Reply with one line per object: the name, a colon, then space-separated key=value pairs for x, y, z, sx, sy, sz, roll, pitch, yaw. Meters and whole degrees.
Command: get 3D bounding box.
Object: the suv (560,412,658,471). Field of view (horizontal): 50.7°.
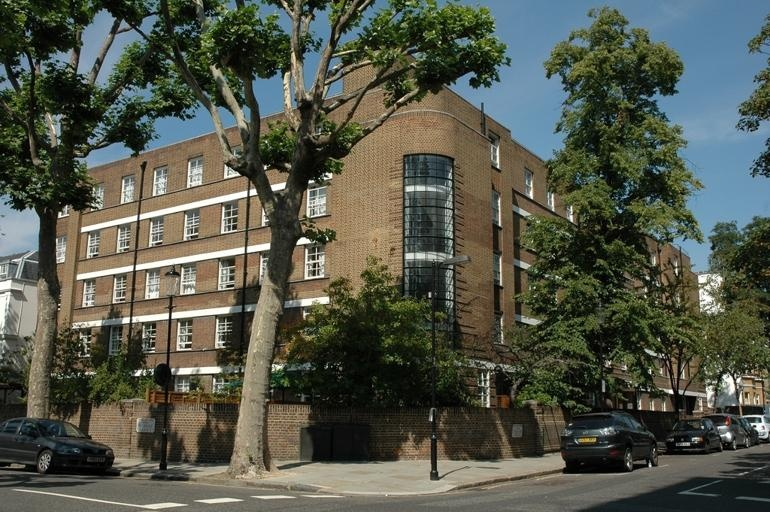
suv: x=10.316 y=8.422 z=36.816 sx=4.318 sy=2.603 sz=1.704 roll=11 pitch=-21 yaw=-30
